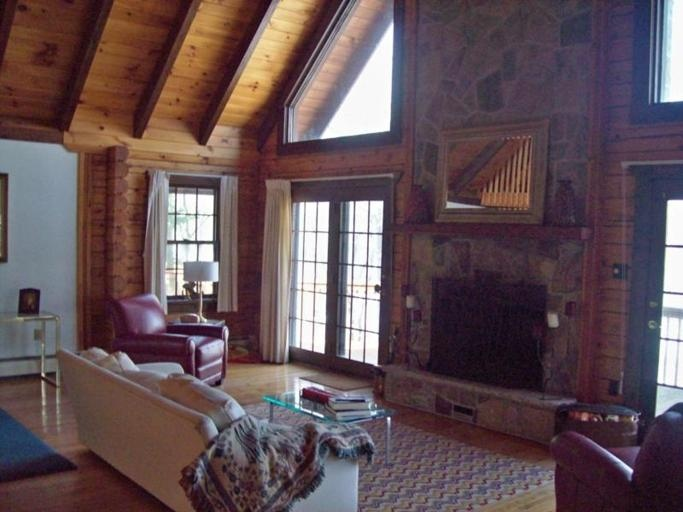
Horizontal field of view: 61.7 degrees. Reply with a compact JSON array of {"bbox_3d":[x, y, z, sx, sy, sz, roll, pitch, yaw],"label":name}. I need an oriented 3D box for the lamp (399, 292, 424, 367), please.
[{"bbox_3d":[0.827,0.832,6.777,0.147,0.918,0.440,-1,5,-25],"label":"lamp"}]

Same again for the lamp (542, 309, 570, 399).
[{"bbox_3d":[2.136,0.968,5.725,0.228,0.839,0.177,2,5,9],"label":"lamp"}]

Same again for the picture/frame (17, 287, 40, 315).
[{"bbox_3d":[-3.893,0.573,7.101,0.275,0.340,0.043,-1,-8,12],"label":"picture/frame"}]

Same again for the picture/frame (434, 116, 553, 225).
[{"bbox_3d":[1.653,-0.884,6.014,1.137,1.038,0.092,3,1,38],"label":"picture/frame"}]

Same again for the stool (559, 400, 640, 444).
[{"bbox_3d":[2.350,1.462,5.212,0.551,0.363,0.399,0,0,-1],"label":"stool"}]
